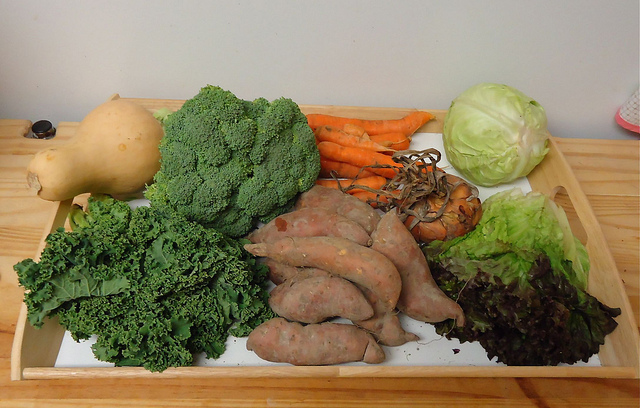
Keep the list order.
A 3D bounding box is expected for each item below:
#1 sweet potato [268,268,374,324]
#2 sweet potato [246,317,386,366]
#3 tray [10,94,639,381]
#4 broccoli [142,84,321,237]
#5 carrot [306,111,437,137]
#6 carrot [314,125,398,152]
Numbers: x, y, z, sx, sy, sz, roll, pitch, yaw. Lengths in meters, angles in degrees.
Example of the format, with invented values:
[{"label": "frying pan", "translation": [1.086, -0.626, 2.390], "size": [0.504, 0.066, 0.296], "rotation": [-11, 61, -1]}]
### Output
[{"label": "sweet potato", "translation": [0.005, 0.491, 2.714], "size": [0.568, 0.204, 0.263], "rotation": [3, 45, -5]}, {"label": "sweet potato", "translation": [-0.025, 0.762, 2.719], "size": [0.779, 0.223, 0.260], "rotation": [1, 15, 9]}, {"label": "tray", "translation": [0.218, 0.747, 2.675], "size": [2.529, 0.321, 1.775], "rotation": [1, 52, -1]}, {"label": "broccoli", "translation": [-0.500, -0.236, 3.068], "size": [0.910, 0.436, 0.934], "rotation": [34, 86, -4]}, {"label": "carrot", "translation": [0.346, -0.544, 3.417], "size": [0.777, 0.145, 0.194], "rotation": [4, 65, 1]}, {"label": "carrot", "translation": [0.220, -0.433, 3.335], "size": [0.545, 0.104, 0.106], "rotation": [10, 57, 2]}]
